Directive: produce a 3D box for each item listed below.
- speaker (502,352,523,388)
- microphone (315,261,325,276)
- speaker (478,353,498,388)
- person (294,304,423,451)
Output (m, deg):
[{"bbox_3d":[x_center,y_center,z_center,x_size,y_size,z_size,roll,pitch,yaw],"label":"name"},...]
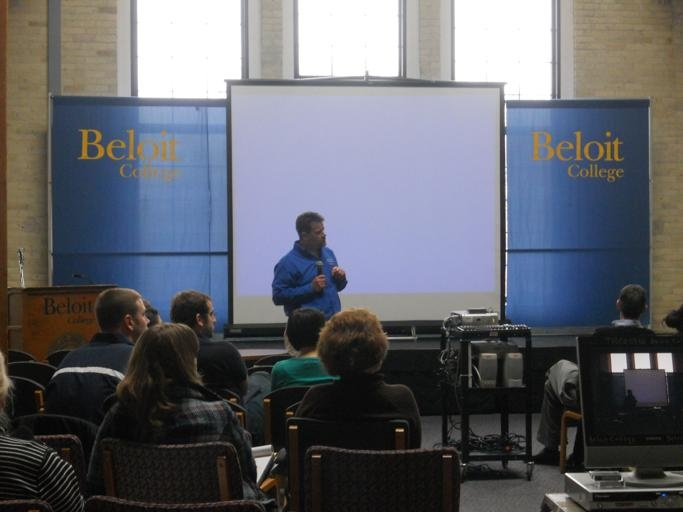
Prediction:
[{"bbox_3d":[1.756,1.129,12.747,0.215,0.345,0.203,-4,16,-16],"label":"speaker"},{"bbox_3d":[-0.282,0.156,15.448,0.117,0.178,0.077,1,3,36],"label":"microphone"},{"bbox_3d":[1.469,1.181,12.748,0.256,0.354,0.259,-5,-16,24],"label":"speaker"},{"bbox_3d":[0.127,1.180,11.603,1.537,1.619,0.799,1,7,-1],"label":"person"}]
